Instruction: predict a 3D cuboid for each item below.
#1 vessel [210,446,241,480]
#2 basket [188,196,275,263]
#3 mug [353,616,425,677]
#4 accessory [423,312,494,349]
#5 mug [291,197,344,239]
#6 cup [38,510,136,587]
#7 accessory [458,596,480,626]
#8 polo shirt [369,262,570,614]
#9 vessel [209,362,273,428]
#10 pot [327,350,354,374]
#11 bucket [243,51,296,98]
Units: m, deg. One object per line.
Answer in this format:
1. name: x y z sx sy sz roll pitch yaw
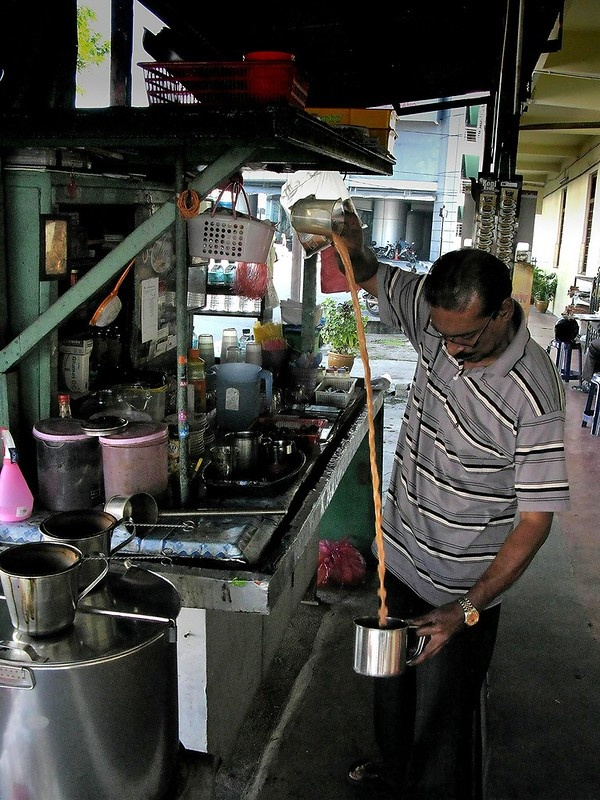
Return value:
1. vessel: -0.251 0.208 2.256 0.076 0.103 0.093 0 7 1
2. basket: -0.225 -0.547 2.172 0.209 0.176 0.178 1 12 -3
3. mug: 0.198 0.514 1.470 0.178 0.143 0.124 5 -12 -18
4. accessory: 0.407 -0.169 1.645 0.126 0.084 0.060 3 11 19
5. mug: 0.044 -0.495 1.826 0.128 0.097 0.150 2 11 14
6. cup: -0.424 0.282 1.344 0.153 0.129 0.114 0 11 -11
7. accessory: 0.409 0.510 1.648 0.031 0.054 0.049 -27 36 -2
8. polo shirt: 0.492 0.130 2.009 0.237 1.052 0.849 -5 11 -23
9. vessel: -0.260 -0.035 2.958 0.263 0.326 0.223 4 8 8
10. pot: 0.362 -0.345 6.108 0.273 0.249 0.293 3 7 0
11. bucket: -0.076 -0.825 1.771 0.143 0.126 0.127 13 36 17
